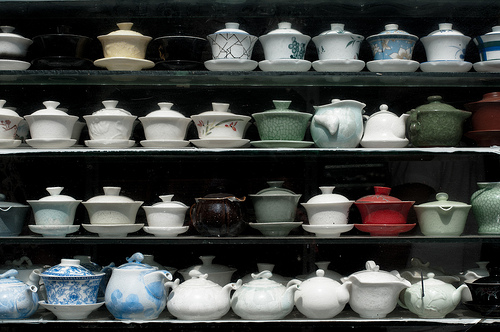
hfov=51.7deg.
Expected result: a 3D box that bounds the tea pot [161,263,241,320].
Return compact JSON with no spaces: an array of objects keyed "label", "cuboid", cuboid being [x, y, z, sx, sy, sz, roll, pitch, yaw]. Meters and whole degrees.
[{"label":"tea pot","cuboid":[-0.230,0.587,2.375,0.400,0.180,0.275,-4,-4,32]}]

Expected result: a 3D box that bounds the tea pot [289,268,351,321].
[{"label":"tea pot","cuboid":[0.326,0.590,2.389,0.347,0.187,0.248,-10,-10,41]}]

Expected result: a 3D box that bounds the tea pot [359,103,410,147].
[{"label":"tea pot","cuboid":[0.650,-0.200,2.491,0.212,0.166,0.275,-20,16,-33]}]

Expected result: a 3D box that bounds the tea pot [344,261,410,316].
[{"label":"tea pot","cuboid":[0.574,0.569,2.420,0.364,0.240,0.321,0,-7,6]}]

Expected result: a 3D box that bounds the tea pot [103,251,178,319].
[{"label":"tea pot","cuboid":[-0.463,0.539,2.360,0.380,0.261,0.293,-5,2,42]}]

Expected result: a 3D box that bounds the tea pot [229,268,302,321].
[{"label":"tea pot","cuboid":[0.047,0.583,2.378,0.362,0.175,0.266,-3,-4,28]}]

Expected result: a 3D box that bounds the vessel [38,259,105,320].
[{"label":"vessel","cuboid":[-0.806,0.583,2.351,0.336,0.188,0.262,7,-19,-26]}]

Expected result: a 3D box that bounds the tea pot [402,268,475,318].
[{"label":"tea pot","cuboid":[0.860,0.604,2.405,0.247,0.184,0.342,12,-16,-41]}]
